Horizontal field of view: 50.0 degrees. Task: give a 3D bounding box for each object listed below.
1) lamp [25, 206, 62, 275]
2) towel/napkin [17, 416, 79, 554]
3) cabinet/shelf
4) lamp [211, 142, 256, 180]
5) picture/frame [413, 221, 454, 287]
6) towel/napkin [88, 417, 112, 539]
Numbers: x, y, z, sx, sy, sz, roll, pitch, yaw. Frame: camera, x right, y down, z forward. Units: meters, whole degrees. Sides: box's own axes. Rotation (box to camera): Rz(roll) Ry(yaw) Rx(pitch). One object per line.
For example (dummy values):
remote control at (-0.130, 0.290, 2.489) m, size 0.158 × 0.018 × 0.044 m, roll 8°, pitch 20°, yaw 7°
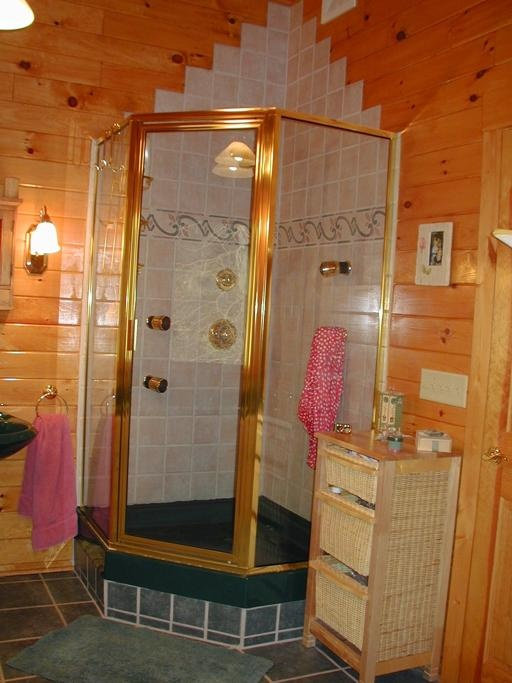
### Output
lamp at (-0.918, -0.442, 2.393) m, size 0.154 × 0.304 × 0.144 m, roll 5°, pitch -4°, yaw -28°
towel/napkin at (-0.897, 0.610, 2.409) m, size 0.254 × 0.571 × 0.116 m, roll 5°, pitch -4°, yaw -20°
cabinet/shelf at (0.401, 0.710, 1.859) m, size 0.370 × 0.771 × 0.442 m, roll 5°, pitch -4°, yaw -30°
lamp at (-0.080, -0.623, 1.929) m, size 0.126 × 0.083 × 0.141 m, roll -8°, pitch 13°, yaw -42°
picture/frame at (0.628, -0.311, 1.927) m, size 0.006 × 0.211 × 0.179 m, roll -3°, pitch 9°, yaw -26°
towel/napkin at (-0.650, 0.529, 2.286) m, size 0.061 × 0.473 × 0.362 m, roll 5°, pitch -4°, yaw -21°
